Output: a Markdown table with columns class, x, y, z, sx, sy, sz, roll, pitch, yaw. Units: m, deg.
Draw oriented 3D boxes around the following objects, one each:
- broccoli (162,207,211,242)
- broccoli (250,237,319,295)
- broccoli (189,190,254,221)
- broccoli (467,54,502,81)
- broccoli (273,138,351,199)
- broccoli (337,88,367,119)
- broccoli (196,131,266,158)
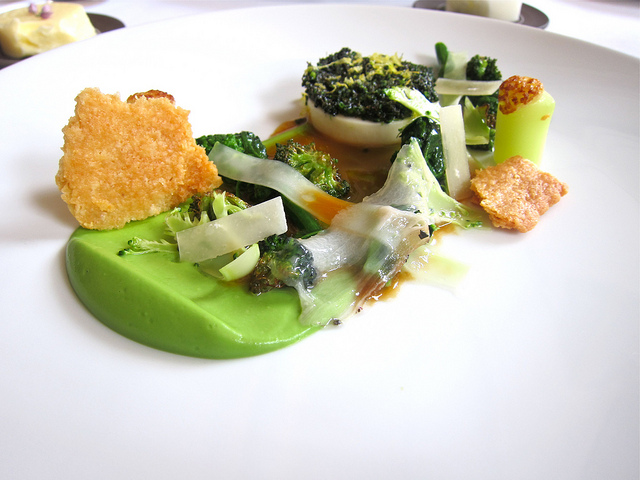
| class | x | y | z | sx | sy | sz | roll | pitch | yaw |
| --- | --- | --- | --- | --- | --- | --- | --- | --- | --- |
| broccoli | -0.589 | -0.082 | 2.342 | 0.236 | 0.269 | 0.061 | -13 | 89 | -28 |
| broccoli | -0.152 | 0.115 | 2.109 | 0.239 | 0.096 | 0.222 | -6 | 79 | -6 |
| broccoli | -0.438 | -0.157 | 2.284 | 0.187 | 0.074 | 0.185 | -17 | 24 | -25 |
| broccoli | 0.990 | -1.043 | 3.200 | 0.193 | 0.184 | 0.113 | 11 | 19 | 20 |
| broccoli | -0.037 | -0.355 | 2.563 | 0.307 | 0.119 | 0.321 | 31 | 19 | -24 |
| broccoli | 0.168 | -0.716 | 2.837 | 0.154 | 0.075 | 0.151 | 2 | 60 | -1 |
| broccoli | -0.432 | -0.493 | 2.643 | 0.228 | 0.059 | 0.187 | -6 | 31 | -22 |
